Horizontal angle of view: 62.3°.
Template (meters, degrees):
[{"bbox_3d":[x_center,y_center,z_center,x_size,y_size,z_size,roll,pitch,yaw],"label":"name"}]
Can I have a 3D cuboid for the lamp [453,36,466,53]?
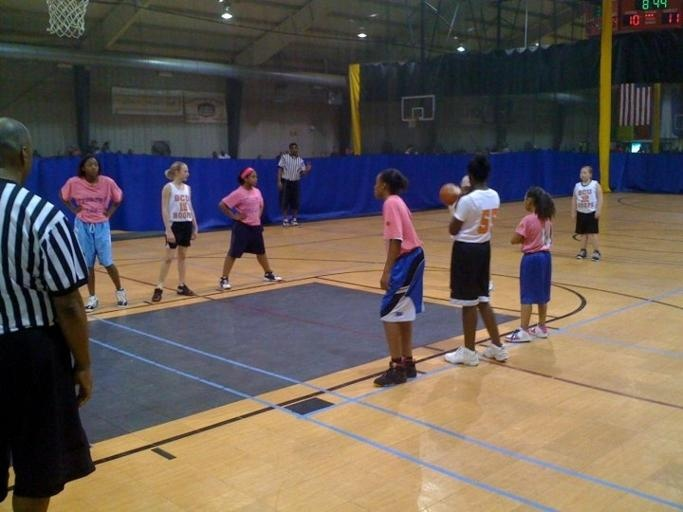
[{"bbox_3d":[5.402,-9.659,25.653,0.324,0.685,0.856,3,11,31],"label":"lamp"}]

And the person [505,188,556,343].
[{"bbox_3d":[2.065,0.070,6.127,0.444,1.620,0.607,1,10,21],"label":"person"}]

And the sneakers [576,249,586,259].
[{"bbox_3d":[4.614,-0.056,10.783,0.126,0.160,0.366,0,0,37],"label":"sneakers"}]

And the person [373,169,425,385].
[{"bbox_3d":[0.457,0.188,4.898,0.380,1.860,0.594,4,11,36],"label":"person"}]

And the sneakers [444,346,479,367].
[{"bbox_3d":[1.168,0.964,5.468,0.319,0.169,0.154,4,6,28],"label":"sneakers"}]

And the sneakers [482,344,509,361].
[{"bbox_3d":[1.504,0.927,5.597,0.114,0.151,0.310,-6,8,-27],"label":"sneakers"}]

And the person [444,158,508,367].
[{"bbox_3d":[1.250,0.066,5.288,0.571,1.979,0.292,-7,10,-27],"label":"person"}]

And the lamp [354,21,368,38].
[{"bbox_3d":[0.967,-10.461,26.307,0.539,0.422,1.253,-2,9,2],"label":"lamp"}]

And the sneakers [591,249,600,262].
[{"bbox_3d":[4.756,-0.017,10.548,0.118,0.167,0.373,0,0,32],"label":"sneakers"}]

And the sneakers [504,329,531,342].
[{"bbox_3d":[1.913,0.857,6.058,0.137,0.112,0.228,-4,5,-45],"label":"sneakers"}]

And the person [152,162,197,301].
[{"bbox_3d":[-2.435,-0.388,8.088,0.671,1.899,0.810,-5,9,-15],"label":"person"}]

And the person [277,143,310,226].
[{"bbox_3d":[-1.362,-2.020,15.967,0.825,2.219,1.065,-3,9,-5],"label":"person"}]
